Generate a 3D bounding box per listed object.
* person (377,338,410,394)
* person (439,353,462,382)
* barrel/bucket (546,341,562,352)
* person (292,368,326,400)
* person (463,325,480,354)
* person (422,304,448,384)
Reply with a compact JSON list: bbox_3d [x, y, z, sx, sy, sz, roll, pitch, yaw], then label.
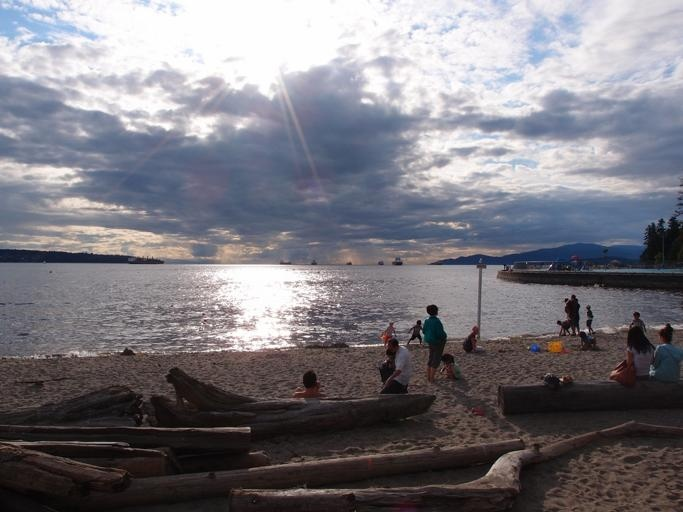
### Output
[{"bbox_3d":[1.286,2.602,12.019,0.706,1.085,1.411,2,-1,4],"label":"person"},{"bbox_3d":[3.196,3.184,14.551,0.847,0.768,0.895,0,-9,18],"label":"person"},{"bbox_3d":[7.590,3.279,18.137,0.570,0.203,0.508,0,5,23],"label":"barrel/bucket"},{"bbox_3d":[-0.704,2.923,11.758,0.645,0.516,1.172,-2,-1,-1],"label":"person"},{"bbox_3d":[4.723,3.027,18.417,0.483,0.744,0.972,2,0,12],"label":"person"},{"bbox_3d":[2.336,2.321,13.710,1.077,1.906,0.697,2,-14,3],"label":"person"}]
